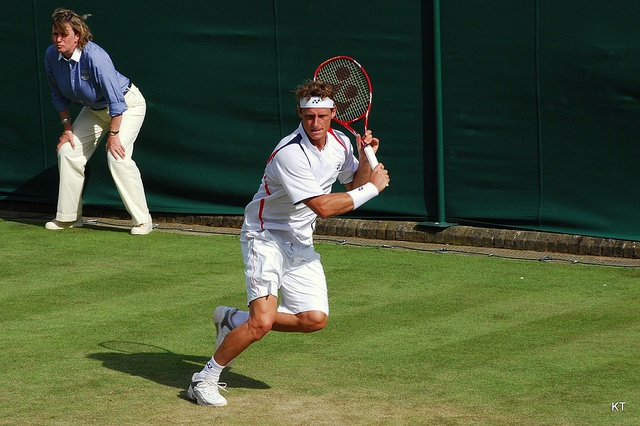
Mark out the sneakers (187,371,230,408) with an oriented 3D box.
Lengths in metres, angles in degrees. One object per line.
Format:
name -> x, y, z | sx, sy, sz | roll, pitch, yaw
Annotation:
sneakers -> -0.869, 1.368, 6.310 | 0.388, 0.144, 0.190 | 9, 5, 38

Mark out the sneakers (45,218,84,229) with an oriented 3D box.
sneakers -> -3.386, 0.166, 10.696 | 0.473, 0.151, 0.161 | 6, 2, -31

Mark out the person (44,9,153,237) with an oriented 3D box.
person -> -2.839, -1.090, 10.282 | 1.393, 2.096, 1.026 | 5, 2, -17

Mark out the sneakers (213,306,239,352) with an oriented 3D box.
sneakers -> -0.766, 0.950, 6.649 | 0.213, 0.374, 0.150 | 8, 8, 23

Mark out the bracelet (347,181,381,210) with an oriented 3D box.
bracelet -> 0.384, -0.141, 6.465 | 0.266, 0.155, 0.122 | -31, -10, -2

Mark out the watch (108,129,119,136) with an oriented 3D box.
watch -> -2.588, -0.997, 10.134 | 0.080, 0.065, 0.081 | 9, -6, -40
